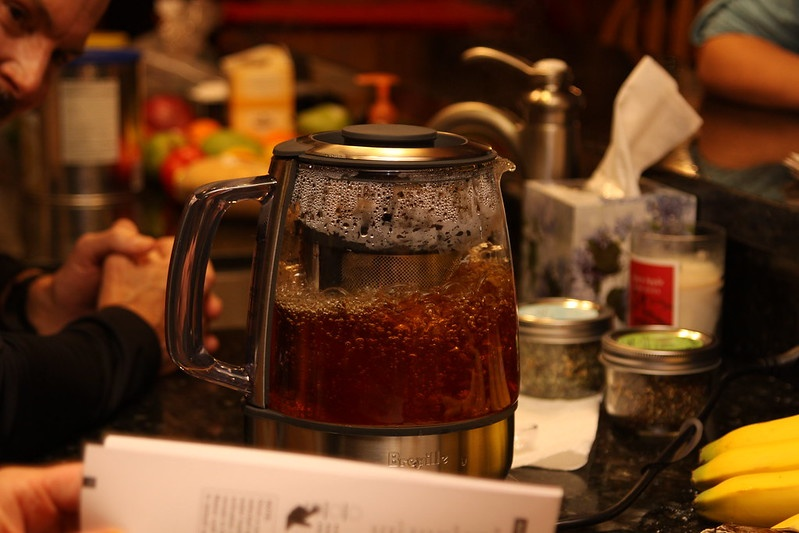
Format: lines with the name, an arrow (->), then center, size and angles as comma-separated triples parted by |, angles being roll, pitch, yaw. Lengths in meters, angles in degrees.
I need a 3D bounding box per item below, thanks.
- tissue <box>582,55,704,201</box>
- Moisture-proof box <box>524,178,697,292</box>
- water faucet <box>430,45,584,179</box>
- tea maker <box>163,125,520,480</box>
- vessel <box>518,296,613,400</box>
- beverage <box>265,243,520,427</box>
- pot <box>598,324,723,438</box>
tissue -> 0.330, -0.190, 0.991 | 0.151, 0.192, 0.066 | -1, 8, 13
Moisture-proof box -> 0.309, -0.028, 1.075 | 0.274, 0.176, 0.269 | 2, 4, 12
water faucet -> 0.139, -0.216, 1.100 | 0.270, 0.207, 0.069 | -5, 19, -20
tea maker -> -0.011, 0.007, 0.771 | 0.384, 0.341, 0.269 | -1, 8, -3
vessel -> 0.205, 0.108, 0.923 | 0.112, 0.119, 0.103 | 2, 8, 33
beverage -> -0.004, 0.063, 0.713 | 0.209, 0.152, 0.144 | -3, 7, -1
pot -> 0.308, 0.118, 0.859 | 0.134, 0.089, 0.133 | 0, 8, 0
